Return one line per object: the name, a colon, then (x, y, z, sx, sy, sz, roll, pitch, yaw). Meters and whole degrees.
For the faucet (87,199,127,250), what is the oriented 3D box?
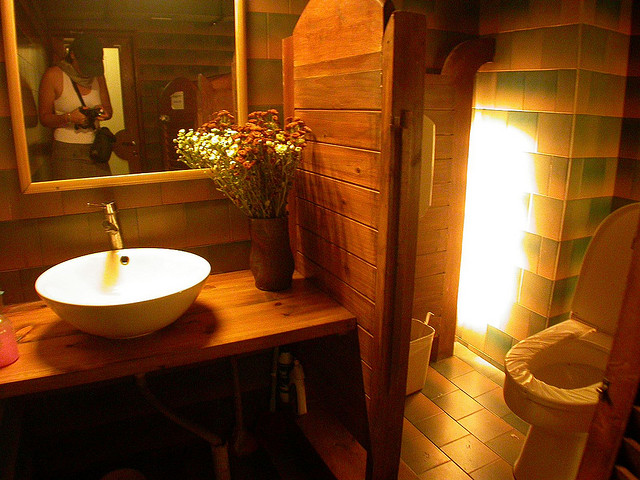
faucet: (-0.882, -0.050, 1.972, 0.117, 0.213, 0.150, -12, 20, -25)

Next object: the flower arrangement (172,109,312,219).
flower arrangement: (-0.256, -0.289, 1.972, 0.408, 0.386, 0.525, -10, 12, 0)

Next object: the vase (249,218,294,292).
vase: (-0.201, 0.042, 1.998, 0.206, 0.300, 0.212, -1, 15, 10)

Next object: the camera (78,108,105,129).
camera: (-0.943, -0.507, 1.967, 0.077, 0.080, 0.039, -1, 16, -21)

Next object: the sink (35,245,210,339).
sink: (-0.727, 0.172, 1.718, 0.419, 0.152, 0.421, -5, 20, -14)

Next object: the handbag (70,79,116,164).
handbag: (-0.877, -0.483, 1.932, 0.108, 0.285, 0.180, -1, 38, -10)

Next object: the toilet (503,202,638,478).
toilet: (1.107, 0.462, 2.175, 0.417, 1.195, 0.646, 9, 21, 33)

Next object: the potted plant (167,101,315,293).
potted plant: (-0.270, -0.199, 2.028, 0.449, 0.772, 0.554, -17, 23, -38)
